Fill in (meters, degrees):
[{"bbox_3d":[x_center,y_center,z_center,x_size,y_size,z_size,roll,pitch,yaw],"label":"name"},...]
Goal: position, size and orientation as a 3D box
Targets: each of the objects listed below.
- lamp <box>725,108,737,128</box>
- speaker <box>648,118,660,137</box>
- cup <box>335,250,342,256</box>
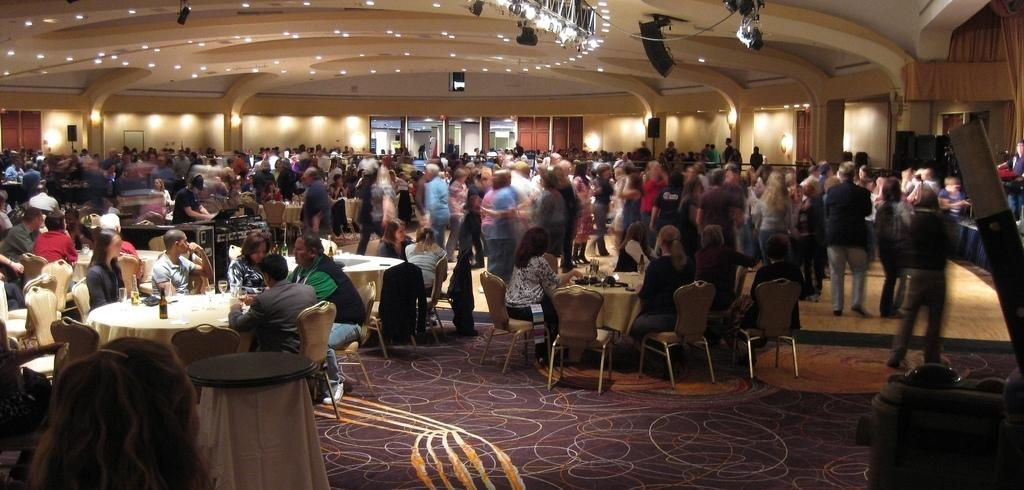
[{"bbox_3d":[8.912,-5.082,28.275,0.357,0.836,1.246,0,4,11],"label":"lamp"},{"bbox_3d":[6.004,-4.977,29.790,0.469,0.808,0.868,0,4,4],"label":"speaker"},{"bbox_3d":[-3.168,0.137,12.780,0.064,0.077,0.113,2,1,-4],"label":"cup"}]
